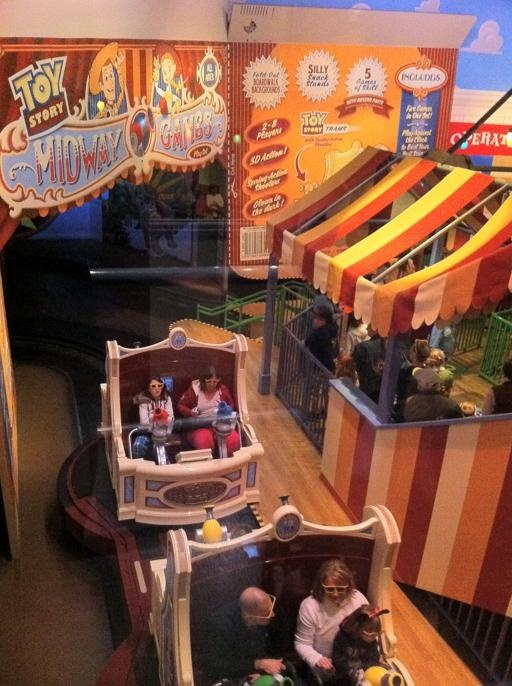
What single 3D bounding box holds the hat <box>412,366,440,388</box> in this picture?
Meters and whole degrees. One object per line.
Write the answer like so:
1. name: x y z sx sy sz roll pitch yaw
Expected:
1. hat: 1.132 0.256 3.346 0.123 0.087 0.165 -7 36 0
